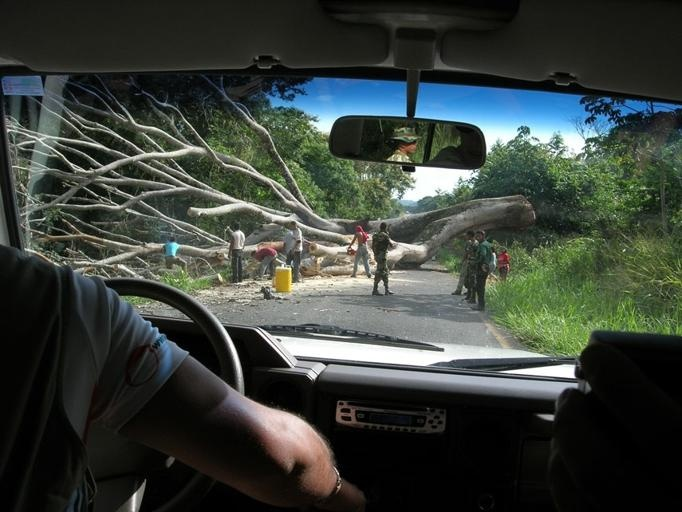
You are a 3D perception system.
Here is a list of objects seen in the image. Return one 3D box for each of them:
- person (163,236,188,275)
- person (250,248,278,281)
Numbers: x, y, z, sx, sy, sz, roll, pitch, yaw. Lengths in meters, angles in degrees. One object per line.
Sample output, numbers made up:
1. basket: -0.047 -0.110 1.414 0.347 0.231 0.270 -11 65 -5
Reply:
1. person: -4.302 -0.055 13.001 0.572 0.933 0.589 3 6 -36
2. person: -2.183 0.109 14.390 0.606 0.979 0.611 6 15 6
